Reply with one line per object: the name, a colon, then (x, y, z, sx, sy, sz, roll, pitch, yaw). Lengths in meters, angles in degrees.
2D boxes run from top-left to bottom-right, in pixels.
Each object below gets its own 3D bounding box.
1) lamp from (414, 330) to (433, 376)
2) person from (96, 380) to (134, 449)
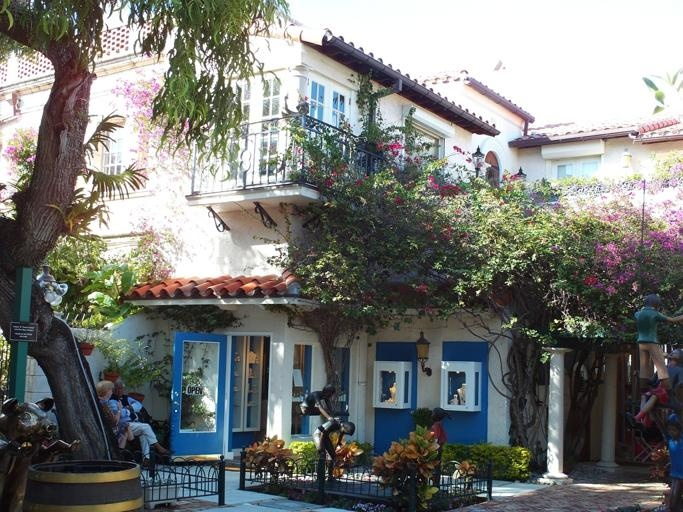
lamp: (1.598, 1.905, 13.657, 0.289, 0.823, 0.528, -2, -12, 7)
person: (-3.606, 2.488, 11.112, 0.577, 1.046, 1.399, 2, -12, -11)
